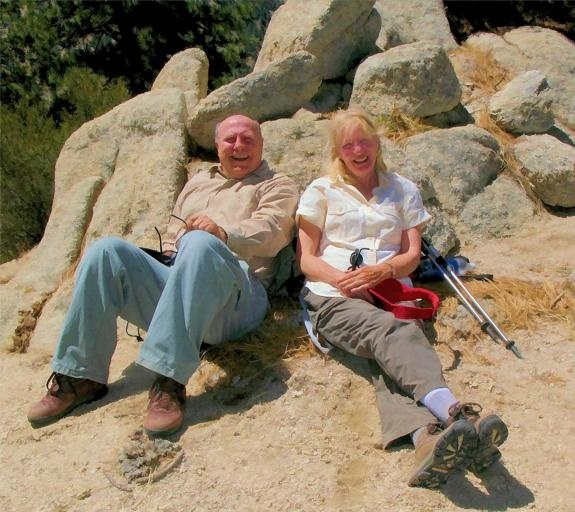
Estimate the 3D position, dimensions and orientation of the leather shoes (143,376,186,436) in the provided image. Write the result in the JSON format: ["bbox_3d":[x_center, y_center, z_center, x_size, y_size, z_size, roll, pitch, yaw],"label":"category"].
[{"bbox_3d":[-0.869,1.043,5.656,0.264,0.271,0.647,2,14,3],"label":"leather shoes"}]

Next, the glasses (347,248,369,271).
[{"bbox_3d":[0.538,0.019,6.008,0.167,0.088,0.219,-5,69,38],"label":"glasses"}]

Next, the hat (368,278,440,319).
[{"bbox_3d":[0.889,0.335,5.849,0.423,0.126,0.301,8,38,26],"label":"hat"}]
